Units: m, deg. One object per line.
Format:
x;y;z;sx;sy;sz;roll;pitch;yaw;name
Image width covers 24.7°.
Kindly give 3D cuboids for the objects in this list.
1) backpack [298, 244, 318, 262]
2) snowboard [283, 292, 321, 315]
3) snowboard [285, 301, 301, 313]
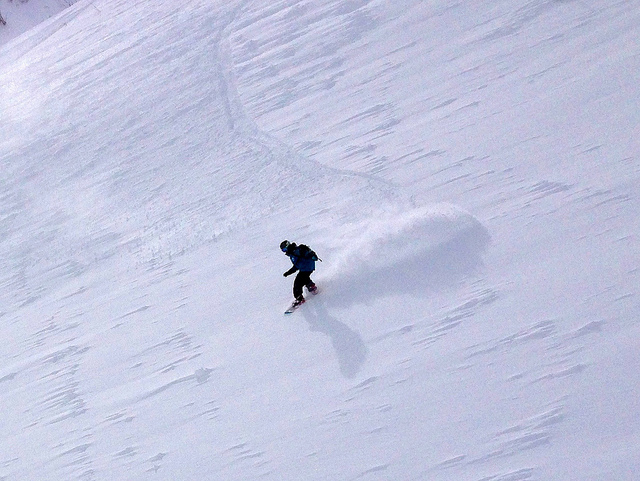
-0.496;0.505;53.240;0.417;0.786;0.359;-31;35;11;backpack
-0.639;2.363;53.798;1.332;0.245;0.226;-31;-6;3;snowboard
-0.986;2.491;53.757;0.699;0.115;0.154;-30;48;14;snowboard
